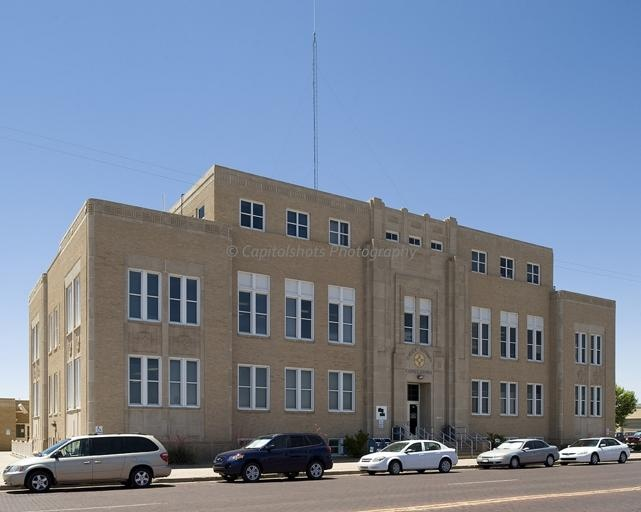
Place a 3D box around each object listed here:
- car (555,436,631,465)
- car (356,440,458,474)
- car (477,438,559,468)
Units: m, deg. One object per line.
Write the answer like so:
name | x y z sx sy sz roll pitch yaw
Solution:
car | 15.326 11.150 56.097 3.731 1.324 1.772 13 -22 -31
car | 4.167 9.873 49.134 3.732 1.821 4.175 -10 -18 27
car | 10.542 10.581 52.978 4.408 1.623 1.182 5 -17 -21
